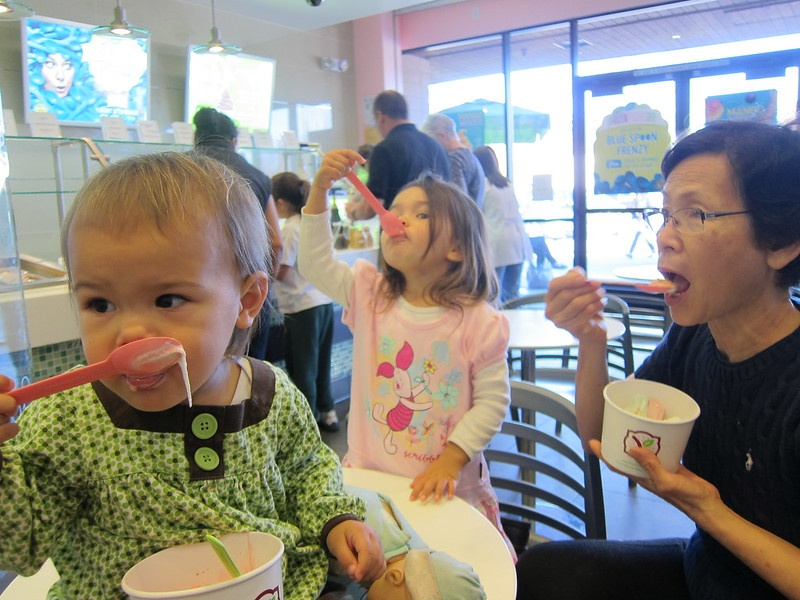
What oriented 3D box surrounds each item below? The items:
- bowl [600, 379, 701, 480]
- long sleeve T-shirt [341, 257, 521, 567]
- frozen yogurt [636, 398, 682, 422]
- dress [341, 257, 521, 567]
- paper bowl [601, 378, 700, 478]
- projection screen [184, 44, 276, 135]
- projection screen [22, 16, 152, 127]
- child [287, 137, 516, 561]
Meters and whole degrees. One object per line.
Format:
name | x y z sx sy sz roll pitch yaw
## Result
bowl | 0.557 0.286 1.551 0.226 0.176 0.233 7 23 -3
long sleeve T-shirt | 0.032 0.331 2.211 0.599 0.853 0.644 22 -26 -38
frozen yogurt | 0.578 0.254 1.526 0.058 0.020 0.059 4 8 1
dress | 0.088 0.375 2.034 0.599 0.853 0.644 22 -26 -38
paper bowl | 0.567 0.304 1.526 0.187 0.202 0.204 0 11 0
projection screen | -1.333 -1.647 5.336 0.880 0.609 0.083 14 16 26
projection screen | -1.943 -1.395 4.088 0.105 0.646 1.076 4 6 31
child | 0.006 0.292 2.054 0.649 1.396 0.530 7 13 17
